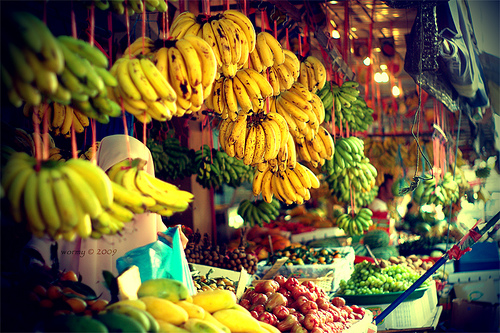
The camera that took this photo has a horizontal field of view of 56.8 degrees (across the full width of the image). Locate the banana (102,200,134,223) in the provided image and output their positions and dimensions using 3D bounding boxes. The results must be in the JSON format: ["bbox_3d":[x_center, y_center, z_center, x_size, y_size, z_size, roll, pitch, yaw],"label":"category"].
[{"bbox_3d":[-0.714,0.238,2.480,0.043,0.124,0.034,-40,8,28],"label":"banana"}]

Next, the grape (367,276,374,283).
[{"bbox_3d":[1.118,1.064,4.312,0.059,0.049,0.043,5,-3,-17],"label":"grape"}]

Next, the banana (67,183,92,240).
[{"bbox_3d":[-0.862,0.242,2.404,0.071,0.284,0.085,-22,5,-32],"label":"banana"}]

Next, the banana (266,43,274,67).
[{"bbox_3d":[0.147,-0.792,3.269,0.026,0.169,0.042,-14,-5,9],"label":"banana"}]

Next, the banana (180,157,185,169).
[{"bbox_3d":[-0.651,-0.032,4.423,0.028,0.125,0.020,-8,1,0],"label":"banana"}]

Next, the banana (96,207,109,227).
[{"bbox_3d":[-0.779,0.284,2.449,0.038,0.153,0.047,-6,-12,-38],"label":"banana"}]

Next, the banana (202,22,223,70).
[{"bbox_3d":[-0.243,-0.803,2.980,0.084,0.340,0.103,-22,-6,-18],"label":"banana"}]

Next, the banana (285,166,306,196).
[{"bbox_3d":[0.334,0.122,3.407,0.070,0.275,0.089,-28,6,42],"label":"banana"}]

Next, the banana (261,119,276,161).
[{"bbox_3d":[0.115,-0.195,3.210,0.139,0.287,0.065,1,-3,45],"label":"banana"}]

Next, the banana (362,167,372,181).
[{"bbox_3d":[1.039,0.070,4.070,0.037,0.150,0.048,-25,-5,-9],"label":"banana"}]

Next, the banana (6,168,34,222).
[{"bbox_3d":[-1.185,0.135,2.411,0.109,0.363,0.071,6,1,15],"label":"banana"}]

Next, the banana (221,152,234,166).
[{"bbox_3d":[-0.219,-0.073,4.267,0.032,0.124,0.039,-36,3,-37],"label":"banana"}]

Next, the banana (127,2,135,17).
[{"bbox_3d":[-0.755,-1.003,2.908,0.022,0.090,0.029,-33,-11,26],"label":"banana"}]

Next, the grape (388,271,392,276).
[{"bbox_3d":[1.338,1.033,4.429,0.040,0.040,0.025,4,-3,-8],"label":"grape"}]

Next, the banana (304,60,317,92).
[{"bbox_3d":[0.475,-0.724,3.667,0.050,0.268,0.086,-2,-27,-23],"label":"banana"}]

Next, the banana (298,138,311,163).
[{"bbox_3d":[0.421,-0.109,3.568,0.067,0.220,0.047,-12,5,31],"label":"banana"}]

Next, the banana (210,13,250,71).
[{"bbox_3d":[-0.123,-0.820,2.934,0.197,0.364,0.112,-10,-8,-22],"label":"banana"}]

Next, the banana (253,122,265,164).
[{"bbox_3d":[0.054,-0.163,3.198,0.060,0.276,0.080,7,-13,-37],"label":"banana"}]

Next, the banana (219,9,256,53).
[{"bbox_3d":[-0.101,-0.902,3.067,0.070,0.288,0.215,-23,13,35],"label":"banana"}]

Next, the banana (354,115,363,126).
[{"bbox_3d":[0.979,-0.425,4.189,0.029,0.111,0.032,-27,15,33],"label":"banana"}]

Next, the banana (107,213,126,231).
[{"bbox_3d":[-0.733,0.298,2.506,0.034,0.100,0.021,-42,4,29],"label":"banana"}]

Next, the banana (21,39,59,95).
[{"bbox_3d":[-1.038,-0.489,2.338,0.091,0.367,0.121,-18,-7,-30],"label":"banana"}]

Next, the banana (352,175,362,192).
[{"bbox_3d":[0.956,0.164,4.175,0.045,0.171,0.048,-10,25,14],"label":"banana"}]

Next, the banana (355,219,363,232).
[{"bbox_3d":[1.022,0.557,4.347,0.039,0.127,0.029,25,-49,-30],"label":"banana"}]

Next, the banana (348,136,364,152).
[{"bbox_3d":[0.963,-0.225,4.208,0.132,0.137,0.306,3,-3,17],"label":"banana"}]

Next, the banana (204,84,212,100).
[{"bbox_3d":[-0.264,-0.454,2.825,0.043,0.118,0.030,15,32,-20],"label":"banana"}]

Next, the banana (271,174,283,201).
[{"bbox_3d":[0.196,0.175,3.485,0.068,0.223,0.043,-15,-3,-19],"label":"banana"}]

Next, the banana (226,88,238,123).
[{"bbox_3d":[-0.115,-0.418,3.130,0.060,0.216,0.055,-6,2,24],"label":"banana"}]

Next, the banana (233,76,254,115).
[{"bbox_3d":[-0.050,-0.474,3.152,0.088,0.322,0.076,-18,-2,-19],"label":"banana"}]

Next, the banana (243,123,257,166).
[{"bbox_3d":[0.018,-0.135,3.233,0.058,0.318,0.093,17,-17,-38],"label":"banana"}]

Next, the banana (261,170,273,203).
[{"bbox_3d":[0.119,0.154,3.490,0.075,0.257,0.061,6,-5,-37],"label":"banana"}]

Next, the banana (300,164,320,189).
[{"bbox_3d":[0.451,0.086,3.439,0.087,0.249,0.062,2,-28,-45],"label":"banana"}]

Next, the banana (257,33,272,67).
[{"bbox_3d":[0.093,-0.826,3.243,0.070,0.271,0.066,-12,-2,-33],"label":"banana"}]

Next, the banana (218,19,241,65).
[{"bbox_3d":[-0.140,-0.789,2.905,0.061,0.245,0.127,-18,-9,-18],"label":"banana"}]

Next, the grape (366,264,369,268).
[{"bbox_3d":[1.140,0.981,4.503,0.023,0.027,0.040,3,-3,13],"label":"grape"}]

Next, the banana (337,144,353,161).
[{"bbox_3d":[0.813,-0.114,3.970,0.032,0.136,0.044,-44,-9,38],"label":"banana"}]

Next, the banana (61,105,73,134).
[{"bbox_3d":[-1.233,-0.324,3.101,0.058,0.170,0.369,5,-3,-23],"label":"banana"}]

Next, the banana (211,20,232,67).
[{"bbox_3d":[-0.173,-0.788,2.967,0.091,0.350,0.078,-17,0,-2],"label":"banana"}]

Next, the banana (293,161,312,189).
[{"bbox_3d":[0.386,0.072,3.366,0.064,0.258,0.091,-24,12,12],"label":"banana"}]

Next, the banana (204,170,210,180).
[{"bbox_3d":[-0.422,0.080,4.452,0.047,0.072,0.017,-7,4,14],"label":"banana"}]

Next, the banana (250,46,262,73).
[{"bbox_3d":[0.043,-0.748,3.287,0.065,0.219,0.052,-9,-1,-42],"label":"banana"}]

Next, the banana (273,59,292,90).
[{"bbox_3d":[0.242,-0.662,3.350,0.069,0.283,0.099,-22,-5,23],"label":"banana"}]
